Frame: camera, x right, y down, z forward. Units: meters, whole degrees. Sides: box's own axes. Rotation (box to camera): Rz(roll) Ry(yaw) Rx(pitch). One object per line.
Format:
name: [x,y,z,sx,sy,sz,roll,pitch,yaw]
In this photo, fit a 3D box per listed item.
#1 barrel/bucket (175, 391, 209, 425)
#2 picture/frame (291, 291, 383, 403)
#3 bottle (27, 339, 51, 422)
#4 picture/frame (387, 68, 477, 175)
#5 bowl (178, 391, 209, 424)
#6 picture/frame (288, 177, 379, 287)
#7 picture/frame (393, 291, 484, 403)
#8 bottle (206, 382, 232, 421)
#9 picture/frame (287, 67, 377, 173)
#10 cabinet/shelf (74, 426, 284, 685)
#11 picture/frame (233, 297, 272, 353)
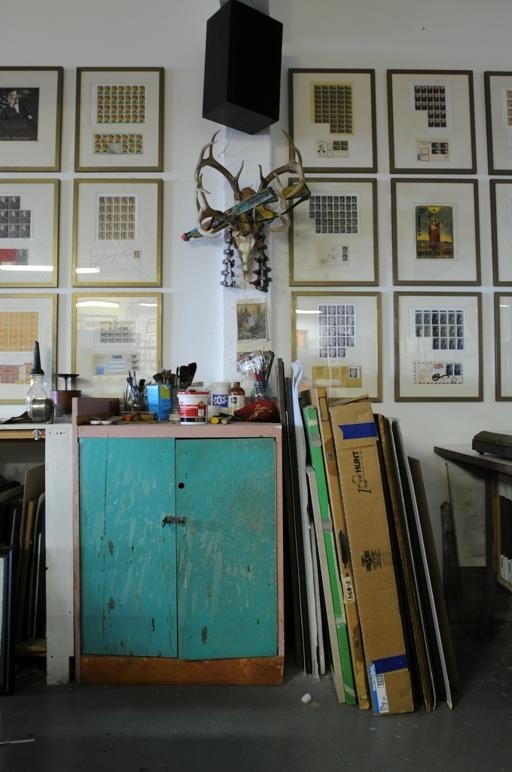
barrel/bucket: [-0.234,0.082,2.400,0.104,0.105,0.111,-1,-5,0]
picture/frame: [0.342,-0.162,2.856,0.440,0.629,0.026,0,-1,-3]
bottle: [-0.931,-0.019,2.753,0.119,0.344,0.100,2,-1,-32]
picture/frame: [0.790,-1.195,2.946,0.421,0.536,0.020,-1,0,-3]
bowl: [-0.235,0.077,2.439,0.107,0.123,0.160,-1,8,-6]
picture/frame: [0.329,-0.680,2.899,0.435,0.577,0.070,0,-1,-4]
picture/frame: [0.812,-0.166,2.925,0.448,0.641,0.028,0,-1,0]
bottle: [-0.146,0.062,2.613,0.112,0.221,0.124,-1,-2,-4]
picture/frame: [0.325,-1.198,2.908,0.523,0.666,0.027,0,1,-1]
cabinet/shelf: [-0.279,0.594,2.438,0.748,1.007,0.353,1,7,-2]
picture/frame: [-0.025,-0.269,2.862,0.219,0.339,0.033,0,-3,-5]
